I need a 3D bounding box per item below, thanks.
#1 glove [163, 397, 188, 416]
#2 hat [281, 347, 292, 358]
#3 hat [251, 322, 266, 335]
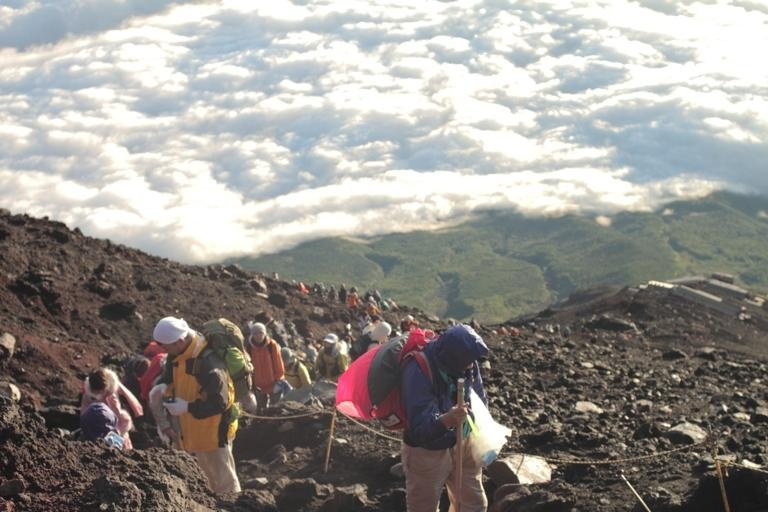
[{"bbox_3d":[-5.426,3.939,23.674,0.542,0.403,0.405,-22,20,8],"label":"glove"},{"bbox_3d":[-3.246,3.242,30.135,0.282,0.323,0.322,3,-30,20],"label":"hat"},{"bbox_3d":[-3.846,2.280,28.285,0.452,0.331,0.343,-4,0,-28],"label":"hat"}]
